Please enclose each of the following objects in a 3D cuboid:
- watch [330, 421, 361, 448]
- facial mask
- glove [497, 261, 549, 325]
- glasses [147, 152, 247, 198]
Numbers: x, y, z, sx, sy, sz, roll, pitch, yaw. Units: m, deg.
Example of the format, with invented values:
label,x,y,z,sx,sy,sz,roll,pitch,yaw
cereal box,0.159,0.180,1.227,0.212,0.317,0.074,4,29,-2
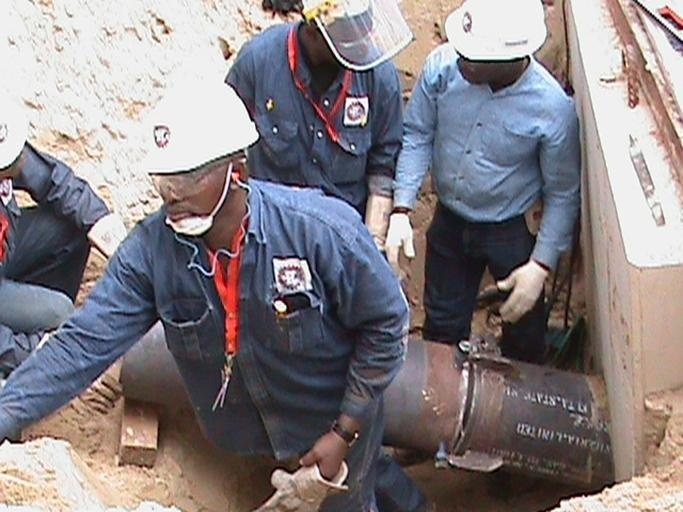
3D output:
label,x,y,z,sx,sy,sz,roll,pitch,yaw
watch,0.014,0.850,4.281,0.062,0.101,0.096,-54,30,-13
facial mask,-0.600,-0.174,3.950,0.226,0.334,0.254,-18,32,-35
glove,1.044,0.202,5.206,0.204,0.417,0.220,-19,30,-33
glasses,-0.615,-0.318,3.864,0.269,0.085,0.221,-25,7,21
